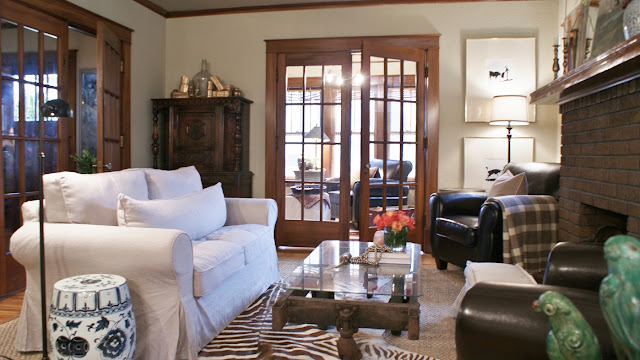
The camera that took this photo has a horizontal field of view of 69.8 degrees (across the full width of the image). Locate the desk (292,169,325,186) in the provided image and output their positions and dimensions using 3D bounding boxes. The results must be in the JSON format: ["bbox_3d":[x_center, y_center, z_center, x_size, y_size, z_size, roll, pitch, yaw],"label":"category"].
[{"bbox_3d":[-0.167,-0.050,6.771,0.360,0.303,0.228,2,5,10],"label":"desk"}]

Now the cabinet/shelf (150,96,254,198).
[{"bbox_3d":[-1.628,-0.470,6.336,1.649,1.739,0.663,0,-2,6],"label":"cabinet/shelf"}]

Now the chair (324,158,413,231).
[{"bbox_3d":[0.655,0.283,7.015,1.060,1.144,1.246,2,-6,-15],"label":"chair"}]

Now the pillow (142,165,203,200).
[{"bbox_3d":[-1.590,0.041,4.948,0.144,0.262,0.490,-21,-11,23],"label":"pillow"}]

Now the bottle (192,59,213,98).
[{"bbox_3d":[-1.750,-1.490,6.722,0.277,0.569,0.322,0,4,-16],"label":"bottle"}]

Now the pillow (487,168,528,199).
[{"bbox_3d":[2.241,0.051,5.426,0.198,0.295,0.362,26,-21,-21],"label":"pillow"}]

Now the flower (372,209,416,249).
[{"bbox_3d":[0.731,0.495,4.767,0.416,0.364,0.398,-1,-1,-9],"label":"flower"}]

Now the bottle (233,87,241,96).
[{"bbox_3d":[-1.200,-1.281,6.698,0.130,0.098,0.124,-1,7,0],"label":"bottle"}]

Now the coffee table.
[{"bbox_3d":[0.300,0.981,4.098,0.897,0.237,1.179,-1,5,10],"label":"coffee table"}]

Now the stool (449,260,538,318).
[{"bbox_3d":[1.592,0.870,4.223,0.735,0.333,0.722,0,-1,28],"label":"stool"}]

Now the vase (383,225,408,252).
[{"bbox_3d":[0.759,0.604,4.611,0.241,0.208,0.222,0,0,7],"label":"vase"}]
